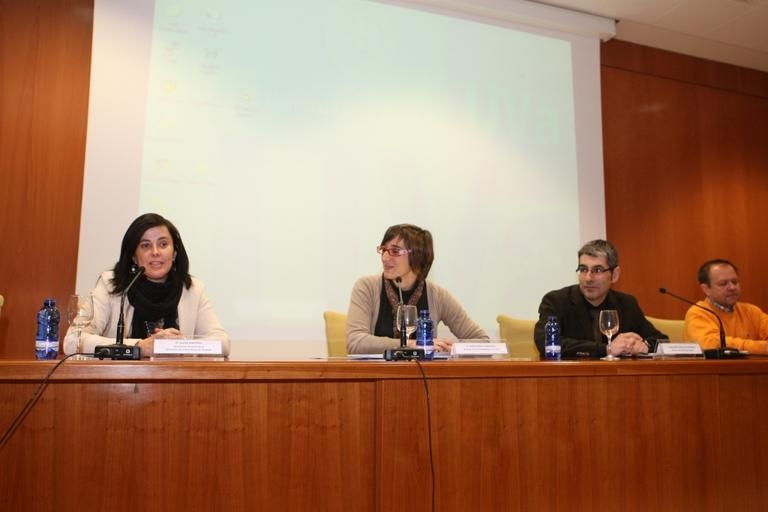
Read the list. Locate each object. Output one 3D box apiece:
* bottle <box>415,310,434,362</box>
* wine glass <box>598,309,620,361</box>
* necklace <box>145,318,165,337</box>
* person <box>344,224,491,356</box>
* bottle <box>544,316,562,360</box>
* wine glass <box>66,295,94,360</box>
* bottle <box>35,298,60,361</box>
[{"bbox_3d":[0.205,0.388,3.136,0.087,0.231,0.290,0,-4,3],"label":"bottle"},{"bbox_3d":[1.222,0.419,3.454,0.083,0.247,0.754,-1,-4,20],"label":"wine glass"},{"bbox_3d":[-1.247,0.400,3.525,0.113,0.114,0.036,6,-30,-38],"label":"necklace"},{"bbox_3d":[0.159,0.285,4.131,0.696,0.975,0.841,2,-16,-4],"label":"person"},{"bbox_3d":[0.875,0.421,3.286,0.069,0.208,0.198,-1,-4,19],"label":"bottle"},{"bbox_3d":[-1.492,0.340,3.127,0.119,0.289,0.446,2,-4,-26],"label":"wine glass"},{"bbox_3d":[-1.680,0.368,3.200,0.094,0.280,0.404,2,-4,-28],"label":"bottle"}]
